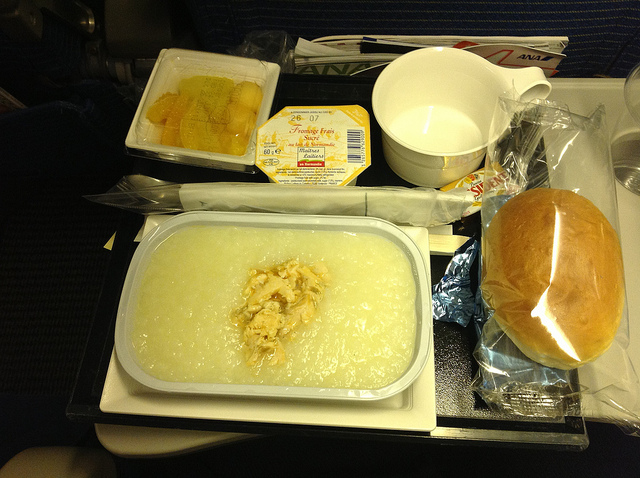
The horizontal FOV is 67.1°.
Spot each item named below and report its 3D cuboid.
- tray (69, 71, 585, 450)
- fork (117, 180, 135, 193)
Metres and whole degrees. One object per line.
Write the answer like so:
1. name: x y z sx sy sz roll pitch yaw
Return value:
1. tray: 0.026 -0.015 1.143 1.074 0.071 0.888 3 70 2
2. fork: -0.471 -0.127 1.179 0.034 0.026 0.030 19 81 -15
